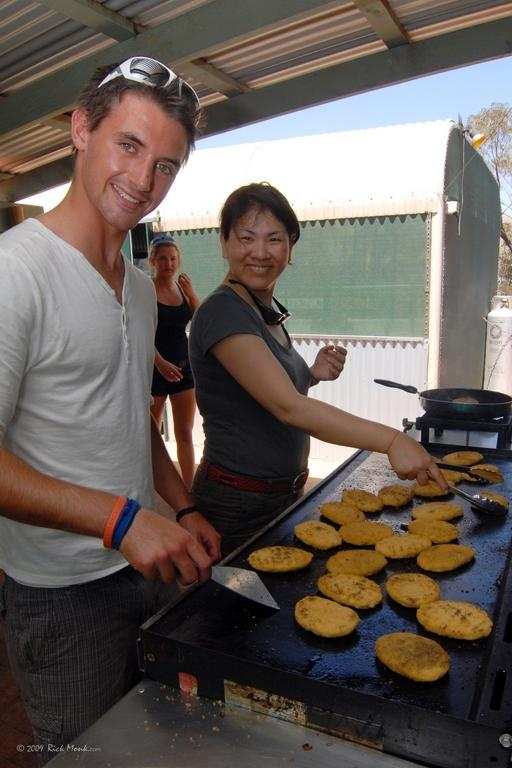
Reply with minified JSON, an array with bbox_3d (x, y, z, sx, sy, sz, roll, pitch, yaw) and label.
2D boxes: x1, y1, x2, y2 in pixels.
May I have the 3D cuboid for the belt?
[{"bbox_3d":[-0.026,0.324,2.311,0.401,0.117,0.344,-1,5,-40],"label":"belt"}]

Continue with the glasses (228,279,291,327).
[{"bbox_3d":[0.047,-0.359,2.314,0.220,0.065,0.220,43,1,-1],"label":"glasses"}]

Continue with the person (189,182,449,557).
[{"bbox_3d":[0.140,0.006,2.126,0.703,1.609,0.694,2,4,28],"label":"person"}]

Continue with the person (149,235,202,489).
[{"bbox_3d":[-0.829,-0.123,5.370,0.683,2.405,0.763,-4,12,-30],"label":"person"}]
